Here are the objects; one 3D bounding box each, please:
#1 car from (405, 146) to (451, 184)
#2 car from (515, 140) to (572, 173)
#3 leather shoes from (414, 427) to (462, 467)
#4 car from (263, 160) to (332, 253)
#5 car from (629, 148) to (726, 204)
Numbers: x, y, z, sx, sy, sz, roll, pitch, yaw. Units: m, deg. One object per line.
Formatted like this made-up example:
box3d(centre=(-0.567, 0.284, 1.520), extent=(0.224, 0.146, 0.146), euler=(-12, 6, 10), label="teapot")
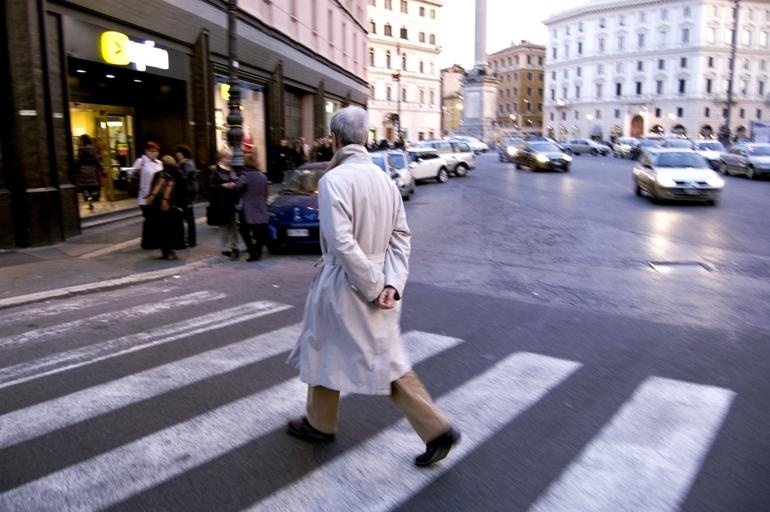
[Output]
box3d(centre=(1.836, -4.854, 26.233), extent=(2.626, 1.324, 1.724), euler=(-3, 6, -41), label="car")
box3d(centre=(9.783, -6.242, 31.192), extent=(1.916, 1.736, 4.237), euler=(-3, 14, -5), label="car")
box3d(centre=(0.376, 1.390, 3.578), extent=(0.325, 0.147, 0.114), euler=(-34, 28, -12), label="leather shoes")
box3d(centre=(-2.080, -1.188, 12.161), extent=(1.439, 1.283, 2.902), euler=(-1, 6, -1), label="car")
box3d(centre=(10.276, -2.777, 17.531), extent=(2.078, 1.802, 2.725), euler=(1, 14, 10), label="car")
